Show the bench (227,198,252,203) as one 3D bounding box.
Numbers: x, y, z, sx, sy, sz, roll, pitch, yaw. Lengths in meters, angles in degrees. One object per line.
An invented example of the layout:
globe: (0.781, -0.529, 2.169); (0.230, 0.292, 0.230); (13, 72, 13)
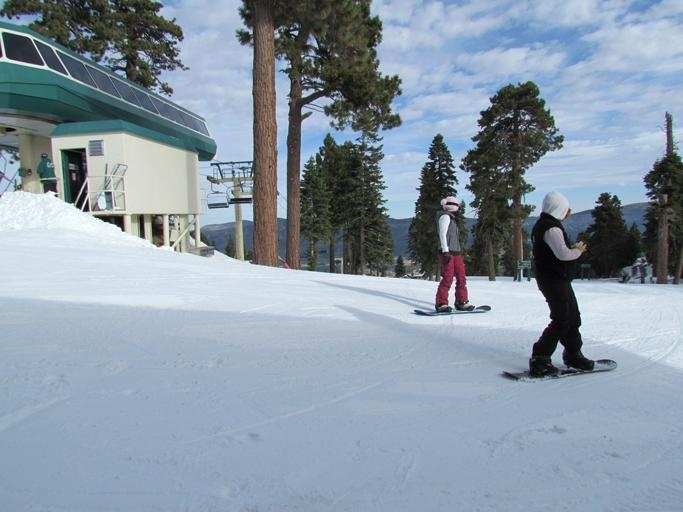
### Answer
bench: (-5.618, -2.979, 31.117); (1.211, 0.372, 0.743); (-3, 15, -18)

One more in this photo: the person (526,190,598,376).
person: (2.520, 0.306, 6.354); (0.803, 1.946, 0.710); (0, 13, -3)

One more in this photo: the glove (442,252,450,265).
glove: (1.745, 0.050, 9.299); (0.128, 0.189, 0.044); (-4, -8, 12)
